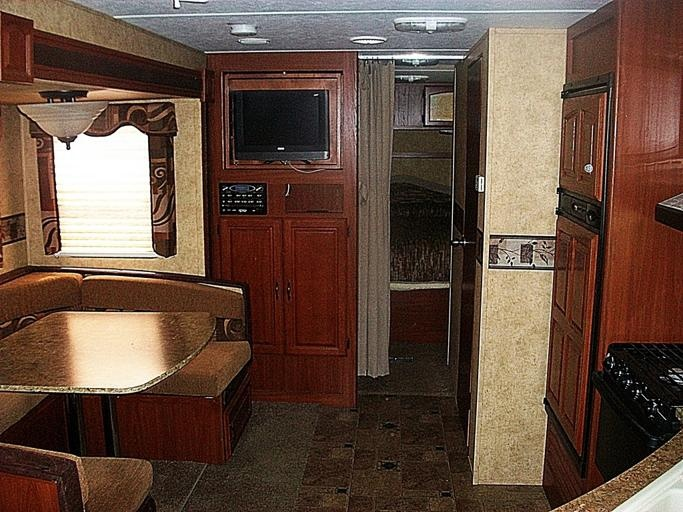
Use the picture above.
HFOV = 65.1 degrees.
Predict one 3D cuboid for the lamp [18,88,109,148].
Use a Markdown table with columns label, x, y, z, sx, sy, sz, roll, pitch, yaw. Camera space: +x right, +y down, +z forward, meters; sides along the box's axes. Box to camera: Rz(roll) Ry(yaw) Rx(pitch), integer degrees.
| label | x | y | z | sx | sy | sz | roll | pitch | yaw |
| --- | --- | --- | --- | --- | --- | --- | --- | --- | --- |
| lamp | -1.433 | -0.707 | 2.790 | 0.341 | 0.198 | 0.322 | -1 | 9 | -5 |

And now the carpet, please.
| label | x | y | z | sx | sy | sz | roll | pitch | yaw |
| --- | --- | --- | --- | --- | --- | --- | --- | --- | --- |
| carpet | 0.559 | 0.998 | 4.747 | 0.789 | 0.156 | 0.903 | 1 | 9 | 6 |

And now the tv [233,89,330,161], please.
| label | x | y | z | sx | sy | sz | roll | pitch | yaw |
| --- | --- | --- | --- | --- | --- | --- | --- | --- | --- |
| tv | -0.416 | -0.996 | 3.956 | 0.584 | 0.372 | 0.059 | 0 | 4 | 3 |
